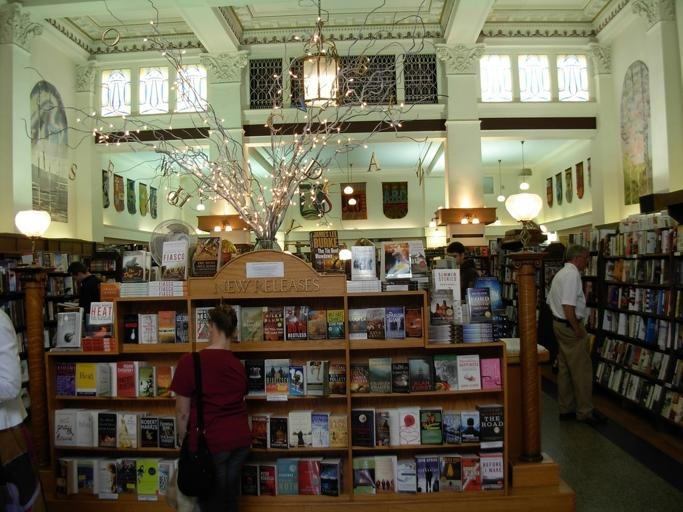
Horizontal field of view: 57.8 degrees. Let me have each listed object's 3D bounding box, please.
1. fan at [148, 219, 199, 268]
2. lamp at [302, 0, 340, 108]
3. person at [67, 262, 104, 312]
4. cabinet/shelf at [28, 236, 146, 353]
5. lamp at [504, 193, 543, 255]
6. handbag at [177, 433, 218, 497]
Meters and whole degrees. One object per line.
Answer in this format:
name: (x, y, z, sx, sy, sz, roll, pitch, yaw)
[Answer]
fan: (-1.803, -0.134, 6.380, 0.429, 0.503, 0.142, -2, 2, -3)
lamp: (-0.223, -2.253, 6.799, 0.426, 0.936, 0.596, -3, -2, -23)
person: (-3.632, 0.451, 8.709, 0.282, 0.870, 0.371, -13, -18, -1)
cabinet/shelf: (-3.298, 0.494, 7.876, 1.609, 1.754, 0.604, -1, 0, -5)
lamp: (1.991, -0.356, 6.681, 0.342, 0.634, 0.370, 4, -5, -9)
handbag: (-1.422, 1.873, 5.568, 0.432, 0.486, 0.323, -2, -22, 31)
